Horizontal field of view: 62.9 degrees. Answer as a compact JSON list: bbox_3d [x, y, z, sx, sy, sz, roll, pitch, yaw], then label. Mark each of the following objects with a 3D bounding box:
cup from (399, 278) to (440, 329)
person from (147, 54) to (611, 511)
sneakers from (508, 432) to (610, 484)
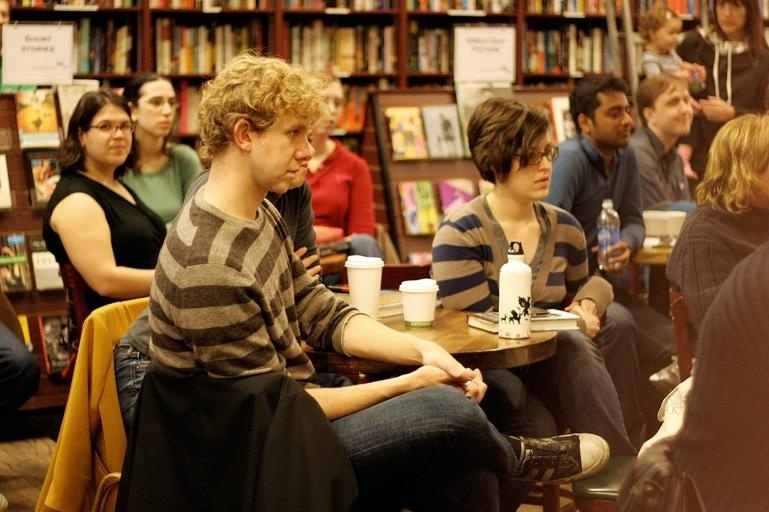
[{"bbox_3d":[0.116,0.140,2.018,0.117,0.142,0.131,-1,8,1],"label":"cup"},{"bbox_3d":[0.065,0.024,2.186,1.341,1.558,0.692,-2,-2,-9],"label":"person"},{"bbox_3d":[0.529,0.584,1.907,0.366,0.137,0.153,-5,-6,20],"label":"sneakers"}]
